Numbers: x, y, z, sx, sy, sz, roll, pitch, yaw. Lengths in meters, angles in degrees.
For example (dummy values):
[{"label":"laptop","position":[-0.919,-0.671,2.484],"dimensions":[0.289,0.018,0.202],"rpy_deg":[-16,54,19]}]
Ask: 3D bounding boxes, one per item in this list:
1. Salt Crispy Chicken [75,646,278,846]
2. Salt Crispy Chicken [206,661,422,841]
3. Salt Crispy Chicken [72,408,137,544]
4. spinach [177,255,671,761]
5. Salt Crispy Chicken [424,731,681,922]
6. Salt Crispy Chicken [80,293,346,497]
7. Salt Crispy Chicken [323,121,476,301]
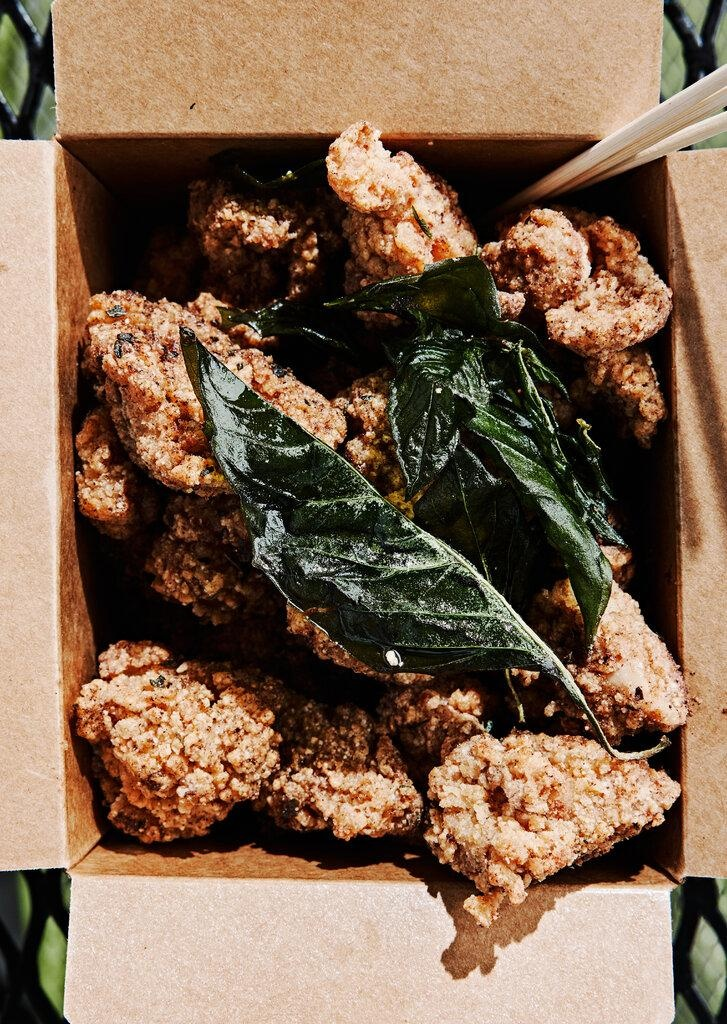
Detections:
[{"label":"Salt Crispy Chicken","position":[-0.234,0.286,1.959],"dimensions":[0.188,0.117,0.204],"rpy_deg":[-8,42,-41]},{"label":"Salt Crispy Chicken","position":[-0.016,0.294,2.037],"dimensions":[0.087,0.175,0.331],"rpy_deg":[-2,-2,29]},{"label":"Salt Crispy Chicken","position":[-0.279,-0.044,1.941],"dimensions":[0.035,0.118,0.079],"rpy_deg":[-3,4,29]},{"label":"spinach","position":[0.033,0.069,1.820],"dimensions":[0.342,0.628,0.123],"rpy_deg":[-27,0,-22]},{"label":"Salt Crispy Chicken","position":[0.215,0.322,1.893],"dimensions":[0.295,0.181,0.092],"rpy_deg":[-7,-32,-10]},{"label":"Salt Crispy Chicken","position":[-0.201,-0.112,1.886],"dimensions":[0.097,0.265,0.217],"rpy_deg":[-41,1,34]},{"label":"Salt Crispy Chicken","position":[0.026,-0.336,1.910],"dimensions":[0.146,0.179,0.071],"rpy_deg":[-33,37,-5]}]
